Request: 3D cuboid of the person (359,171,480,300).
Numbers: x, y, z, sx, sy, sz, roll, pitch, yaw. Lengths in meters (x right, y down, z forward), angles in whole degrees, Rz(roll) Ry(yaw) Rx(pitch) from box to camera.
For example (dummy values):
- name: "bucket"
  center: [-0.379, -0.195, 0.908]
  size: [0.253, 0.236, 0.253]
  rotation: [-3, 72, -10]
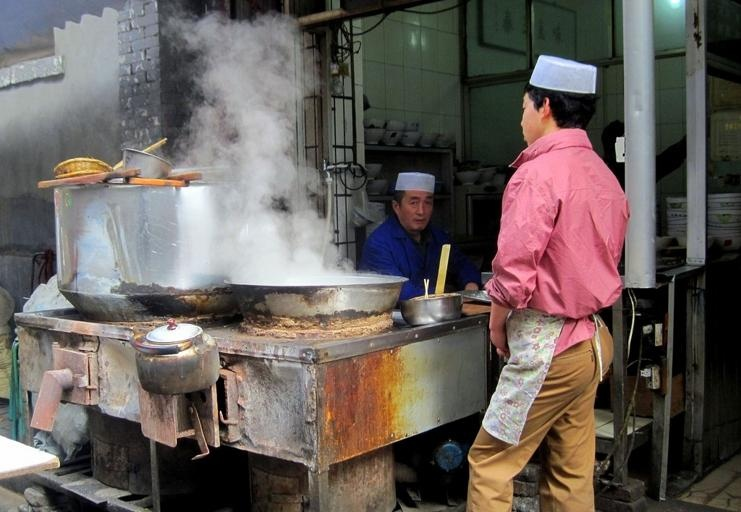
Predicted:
- name: "person"
  center: [0.220, -0.084, 4.961]
  size: [0.815, 1.135, 0.764]
  rotation: [-2, 0, -41]

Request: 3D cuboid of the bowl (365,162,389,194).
- name: "bowl"
  center: [0.059, -0.709, 6.636]
  size: [0.246, 0.303, 0.259]
  rotation: [0, 6, 0]

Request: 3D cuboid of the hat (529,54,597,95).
- name: "hat"
  center: [0.912, -0.836, 3.422]
  size: [0.207, 0.187, 0.307]
  rotation: [12, 16, 40]

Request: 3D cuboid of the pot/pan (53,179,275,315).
- name: "pot/pan"
  center: [-1.284, -0.052, 4.316]
  size: [1.033, 0.821, 1.042]
  rotation: [-5, 8, -34]

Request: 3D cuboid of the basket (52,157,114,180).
- name: "basket"
  center: [-1.574, -0.474, 3.968]
  size: [0.307, 0.110, 0.339]
  rotation: [-3, 7, -14]

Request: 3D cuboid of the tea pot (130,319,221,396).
- name: "tea pot"
  center: [-0.918, 0.483, 3.418]
  size: [0.389, 0.357, 0.149]
  rotation: [0, 7, 7]

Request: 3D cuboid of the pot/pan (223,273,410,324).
- name: "pot/pan"
  center: [-0.251, 0.225, 3.659]
  size: [0.857, 0.202, 0.269]
  rotation: [-2, 7, -12]

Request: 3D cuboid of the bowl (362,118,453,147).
- name: "bowl"
  center: [0.349, -1.150, 6.935]
  size: [0.208, 0.253, 1.132]
  rotation: [4, 8, 40]
